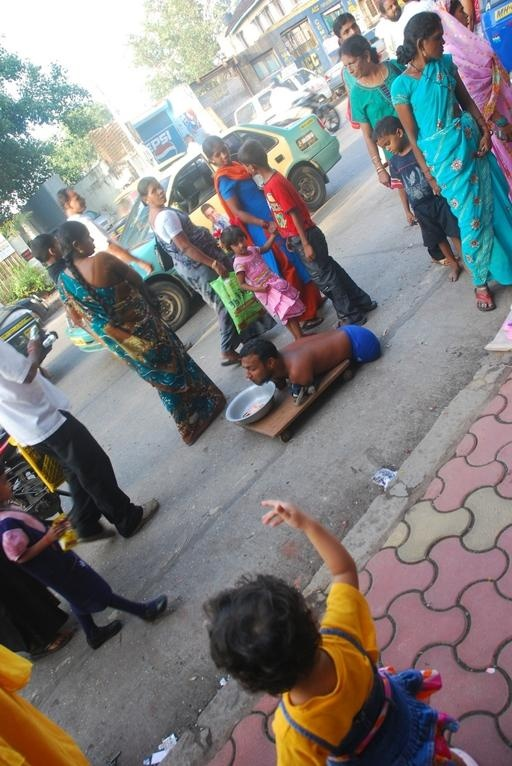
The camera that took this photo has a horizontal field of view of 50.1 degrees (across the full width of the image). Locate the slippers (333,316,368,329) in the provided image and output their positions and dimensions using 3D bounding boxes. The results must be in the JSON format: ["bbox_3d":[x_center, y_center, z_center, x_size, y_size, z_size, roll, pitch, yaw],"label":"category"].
[{"bbox_3d":[0.704,-0.463,4.249,0.306,0.108,0.110,2,14,36],"label":"slippers"}]

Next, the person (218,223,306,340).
[{"bbox_3d":[0.063,-0.838,4.450,0.364,1.125,0.470,-20,41,32],"label":"person"}]

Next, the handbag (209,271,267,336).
[{"bbox_3d":[-0.136,-0.695,4.671,0.373,0.439,0.139,-48,29,-21],"label":"handbag"}]

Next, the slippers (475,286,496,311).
[{"bbox_3d":[1.455,-0.531,3.442,0.069,0.086,0.205,-7,29,18],"label":"slippers"}]

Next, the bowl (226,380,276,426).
[{"bbox_3d":[0.005,0.147,3.933,0.329,0.086,0.330,-20,34,14],"label":"bowl"}]

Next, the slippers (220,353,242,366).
[{"bbox_3d":[-0.233,-0.220,5.208,0.146,0.155,0.119,20,17,29],"label":"slippers"}]

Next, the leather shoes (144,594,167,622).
[{"bbox_3d":[-0.539,1.224,3.020,0.103,0.054,0.140,2,24,30],"label":"leather shoes"}]

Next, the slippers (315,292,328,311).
[{"bbox_3d":[0.612,-0.754,4.994,0.059,0.126,0.183,-18,0,23],"label":"slippers"}]

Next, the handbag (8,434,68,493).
[{"bbox_3d":[-1.492,0.570,3.929,0.130,0.492,0.473,-54,1,-16],"label":"handbag"}]

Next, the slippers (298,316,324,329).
[{"bbox_3d":[0.481,-0.502,4.739,0.240,0.101,0.081,-14,23,20],"label":"slippers"}]

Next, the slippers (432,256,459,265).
[{"bbox_3d":[1.486,-0.954,4.281,0.198,0.083,0.074,10,33,38],"label":"slippers"}]

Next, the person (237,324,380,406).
[{"bbox_3d":[0.352,-0.188,3.681,0.828,0.370,0.498,-26,32,-8],"label":"person"}]

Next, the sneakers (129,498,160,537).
[{"bbox_3d":[-0.769,0.936,3.938,0.107,0.126,0.314,16,52,25],"label":"sneakers"}]

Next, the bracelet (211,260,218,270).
[{"bbox_3d":[-0.335,-0.955,4.417,0.024,0.061,0.054,2,4,-15],"label":"bracelet"}]
